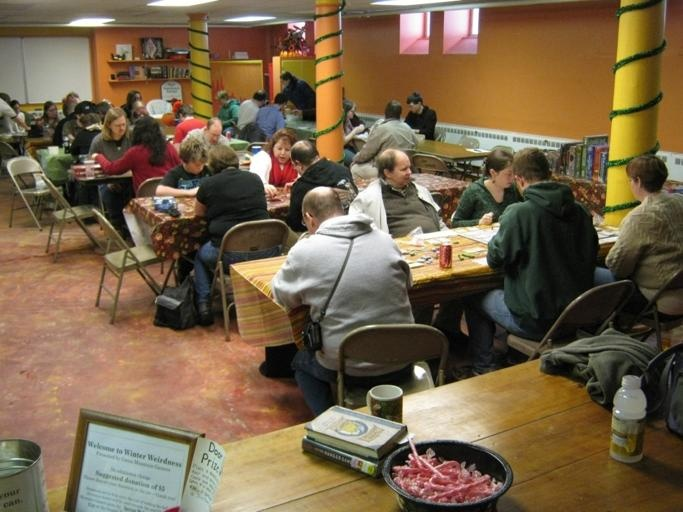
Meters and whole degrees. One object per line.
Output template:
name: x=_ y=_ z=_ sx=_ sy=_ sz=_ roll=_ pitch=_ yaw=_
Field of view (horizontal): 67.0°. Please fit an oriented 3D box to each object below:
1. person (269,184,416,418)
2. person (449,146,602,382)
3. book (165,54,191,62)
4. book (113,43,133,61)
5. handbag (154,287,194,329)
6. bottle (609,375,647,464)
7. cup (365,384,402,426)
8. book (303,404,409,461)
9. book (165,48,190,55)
person: x=0.021 y=0.315 z=2.678 sx=0.739 sy=1.250 sz=0.571 roll=1 pitch=16 yaw=17
person: x=1.166 y=0.217 z=3.245 sx=0.783 sy=1.329 sz=0.433 roll=3 pitch=17 yaw=24
book: x=-4.525 y=-5.482 z=14.336 sx=0.510 sy=0.131 sz=0.491 roll=2 pitch=7 yaw=27
book: x=-5.893 y=-5.485 z=13.853 sx=0.565 sy=0.524 sz=0.072 roll=-3 pitch=8 yaw=-33
handbag: x=-1.477 y=0.473 z=4.587 sx=0.372 sy=0.341 sz=0.243 roll=2 pitch=2 yaw=32
bottle: x=0.915 y=0.505 z=1.621 sx=0.167 sy=0.262 sz=0.091 roll=-14 pitch=18 yaw=-33
cup: x=0.154 y=0.488 z=1.763 sx=0.095 sy=0.123 sz=0.143 roll=-15 pitch=20 yaw=-39
book: x=0.035 y=0.549 z=1.612 sx=0.202 sy=0.040 sz=0.147 roll=10 pitch=17 yaw=31
book: x=-4.539 y=-5.630 z=14.252 sx=0.363 sy=0.101 sz=0.332 roll=-4 pitch=12 yaw=-25
